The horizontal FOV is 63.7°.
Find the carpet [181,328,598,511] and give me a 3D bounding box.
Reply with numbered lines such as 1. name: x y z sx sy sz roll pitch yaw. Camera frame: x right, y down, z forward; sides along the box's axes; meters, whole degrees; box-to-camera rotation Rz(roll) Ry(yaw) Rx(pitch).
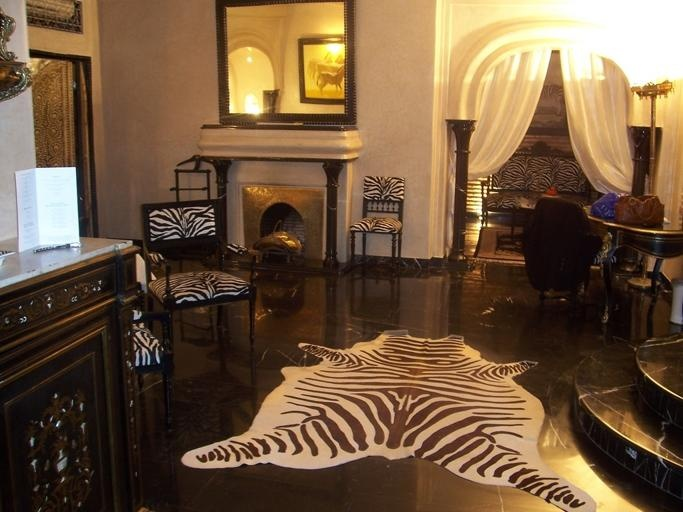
1. carpet: 0.457 0.995 3.825 2.044 0.157 1.892 2 12 10

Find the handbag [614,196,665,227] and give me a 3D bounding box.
1. handbag: 2.713 -0.418 4.988 0.399 0.287 0.218 2 25 16

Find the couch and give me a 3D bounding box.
1. couch: 3.596 -1.010 9.786 0.890 1.877 2.059 16 -1 -36

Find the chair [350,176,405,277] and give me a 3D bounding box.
1. chair: 0.431 -0.401 6.788 0.677 1.136 0.513 2 12 7

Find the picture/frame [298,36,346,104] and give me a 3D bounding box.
1. picture/frame: -0.223 -2.293 6.703 0.769 0.860 0.057 3 18 12

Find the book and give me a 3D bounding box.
1. book: -1.214 -0.194 2.280 0.249 0.332 0.128 -8 14 -36
